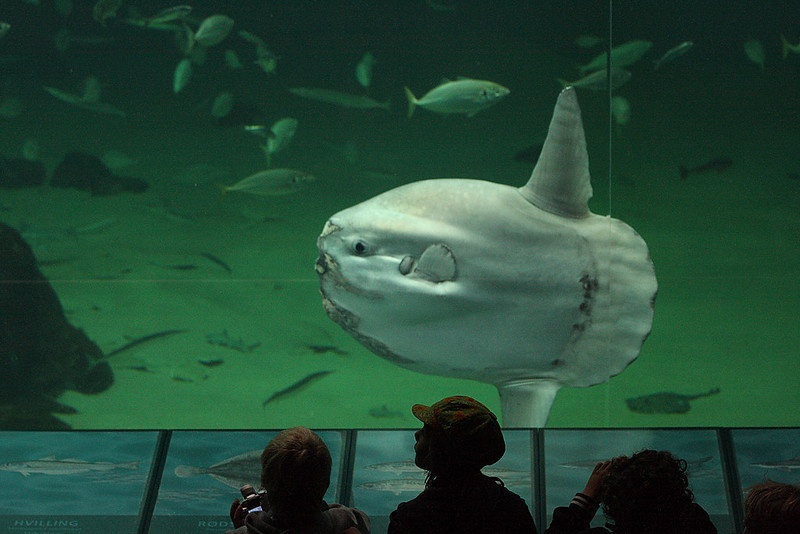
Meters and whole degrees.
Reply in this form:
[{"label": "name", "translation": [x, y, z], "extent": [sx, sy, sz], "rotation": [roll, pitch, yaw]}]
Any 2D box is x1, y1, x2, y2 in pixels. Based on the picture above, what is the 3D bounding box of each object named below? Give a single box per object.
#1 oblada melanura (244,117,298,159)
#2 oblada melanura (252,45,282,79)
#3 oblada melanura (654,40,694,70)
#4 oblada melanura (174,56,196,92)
[{"label": "oblada melanura", "translation": [-0.797, -0.828, 6.184], "extent": [0.470, 0.184, 0.075], "rotation": [-30, 3, 1]}, {"label": "oblada melanura", "translation": [-0.836, -1.310, 6.177], "extent": [0.209, 0.163, 0.044], "rotation": [-22, 1, 3]}, {"label": "oblada melanura", "translation": [1.691, -1.309, 6.024], "extent": [0.227, 0.177, 0.028], "rotation": [1, -15, 10]}, {"label": "oblada melanura", "translation": [-1.371, -1.219, 6.206], "extent": [0.118, 0.206, 0.062], "rotation": [-4, -17, 32]}]
